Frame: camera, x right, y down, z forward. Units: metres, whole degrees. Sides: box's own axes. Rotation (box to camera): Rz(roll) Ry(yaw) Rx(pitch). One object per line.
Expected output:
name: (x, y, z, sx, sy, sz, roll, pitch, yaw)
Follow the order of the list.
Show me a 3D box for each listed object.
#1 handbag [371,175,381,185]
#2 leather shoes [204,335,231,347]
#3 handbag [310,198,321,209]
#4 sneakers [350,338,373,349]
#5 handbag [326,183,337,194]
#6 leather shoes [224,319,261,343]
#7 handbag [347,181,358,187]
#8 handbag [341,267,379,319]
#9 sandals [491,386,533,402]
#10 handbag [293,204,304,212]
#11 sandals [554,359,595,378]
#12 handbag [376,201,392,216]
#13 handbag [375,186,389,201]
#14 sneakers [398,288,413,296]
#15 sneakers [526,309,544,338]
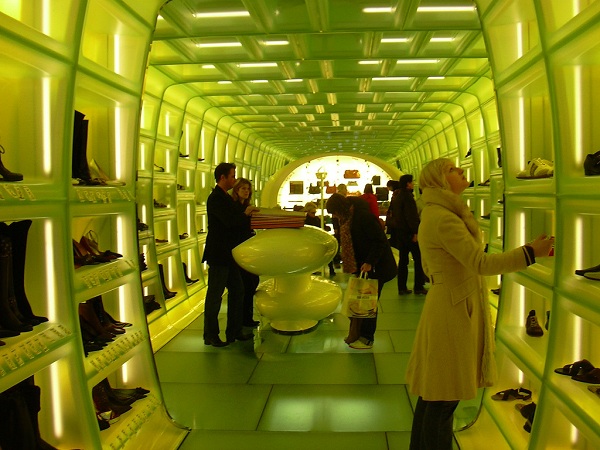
handbag: (1.850, -1.090, 10.034, 0.239, 0.252, 0.059, -1, 6, 4)
leather shoes: (-1.012, 1.416, 4.995, 0.341, 0.161, 0.116, -1, -2, 6)
handbag: (0.354, -0.573, 10.573, 0.346, 0.189, 0.198, 9, 17, -7)
sneakers: (0.727, 1.392, 4.815, 0.221, 0.089, 0.126, 1, -11, 3)
handbag: (0.757, -0.843, 9.996, 0.390, 0.280, 0.227, -1, -1, 16)
leather shoes: (-0.680, 1.394, 5.363, 0.116, 0.161, 0.368, 9, 14, 25)
handbag: (1.338, -0.984, 10.026, 0.369, 0.162, 0.087, 0, 6, 15)
handbag: (0.625, 0.736, 4.415, 0.442, 0.693, 0.380, 1, -3, -1)
sandals: (1.565, 1.257, 3.074, 0.298, 0.101, 0.101, -7, 7, 9)
handbag: (-0.024, -0.317, 8.131, 0.224, 0.125, 0.317, 0, -4, 0)
sandals: (1.521, 0.813, 2.327, 0.224, 0.061, 0.084, -17, 10, 25)
handbag: (2.148, -0.393, 10.615, 0.342, 0.384, 0.441, 0, -6, 4)
handbag: (1.992, -0.765, 10.078, 0.361, 0.348, 0.117, 19, -7, -36)
sneakers: (1.826, 1.179, 7.133, 0.223, 0.096, 0.080, -5, 5, -3)
sneakers: (1.674, 0.727, 3.025, 0.101, 0.149, 0.203, -1, 0, 8)
